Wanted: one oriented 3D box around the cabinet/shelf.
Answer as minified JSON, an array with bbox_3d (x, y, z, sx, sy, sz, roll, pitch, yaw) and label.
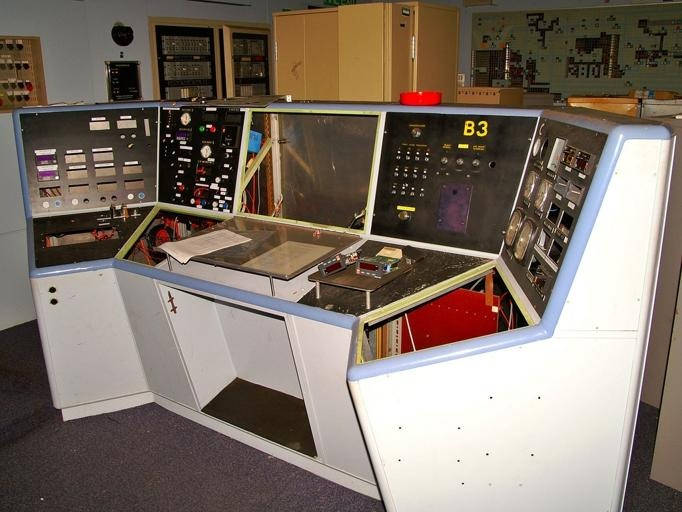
[{"bbox_3d":[0.218,-1.601,3.976,1.461,0.703,0.817,-2,20,-6],"label":"cabinet/shelf"}]
